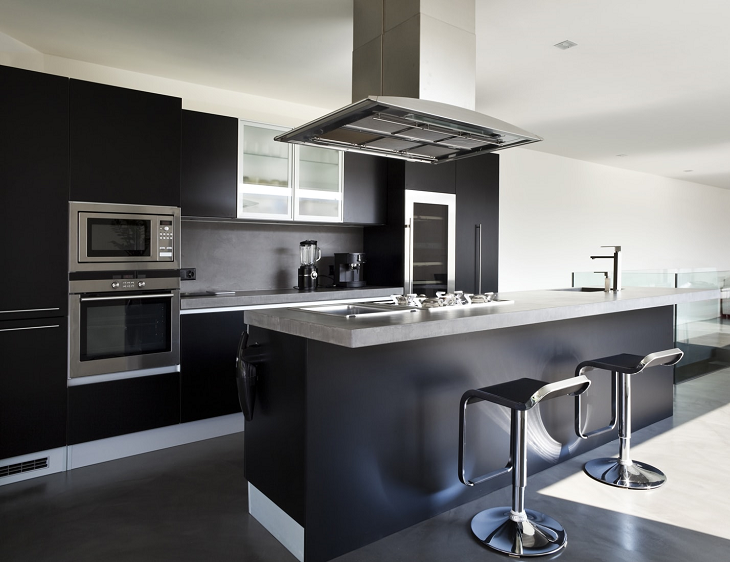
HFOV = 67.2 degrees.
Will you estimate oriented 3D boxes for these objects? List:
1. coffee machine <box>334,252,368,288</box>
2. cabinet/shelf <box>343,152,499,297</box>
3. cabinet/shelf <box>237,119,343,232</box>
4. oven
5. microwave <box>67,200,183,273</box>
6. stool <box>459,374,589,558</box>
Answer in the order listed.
[{"bbox_3d":[-0.168,-0.121,5.445,0.328,0.384,0.346,0,-1,-37],"label":"coffee machine"},{"bbox_3d":[0.504,-0.574,5.634,1.774,1.877,0.626,0,-2,-32],"label":"cabinet/shelf"},{"bbox_3d":[-0.692,-0.939,4.875,1.240,0.934,0.384,0,0,-30],"label":"cabinet/shelf"},{"bbox_3d":[-2.005,0.364,4.250,0.625,0.796,0.941,0,0,40],"label":"oven"},{"bbox_3d":[-1.807,-0.336,4.106,0.887,0.544,0.479,0,0,-43],"label":"microwave"},{"bbox_3d":[0.888,0.995,3.173,0.666,0.918,0.627,4,13,21],"label":"stool"}]
